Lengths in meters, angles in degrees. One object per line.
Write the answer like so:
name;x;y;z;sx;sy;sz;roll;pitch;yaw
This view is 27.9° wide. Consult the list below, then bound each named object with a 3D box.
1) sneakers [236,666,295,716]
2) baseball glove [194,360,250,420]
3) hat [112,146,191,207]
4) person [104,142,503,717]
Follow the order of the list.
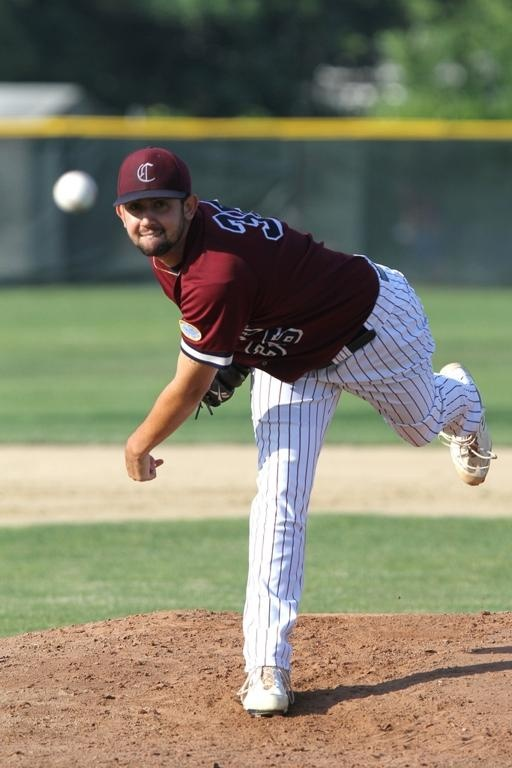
sneakers;0.035;0.726;2.451;0.127;0.122;0.099;-2;5;-12
baseball glove;-0.085;0.024;3.097;0.154;0.195;0.113;-11;14;-37
hat;-0.247;-0.498;2.461;0.179;0.155;0.195;-2;5;-5
person;0.164;0.079;2.889;0.444;1.347;1.252;2;6;35
